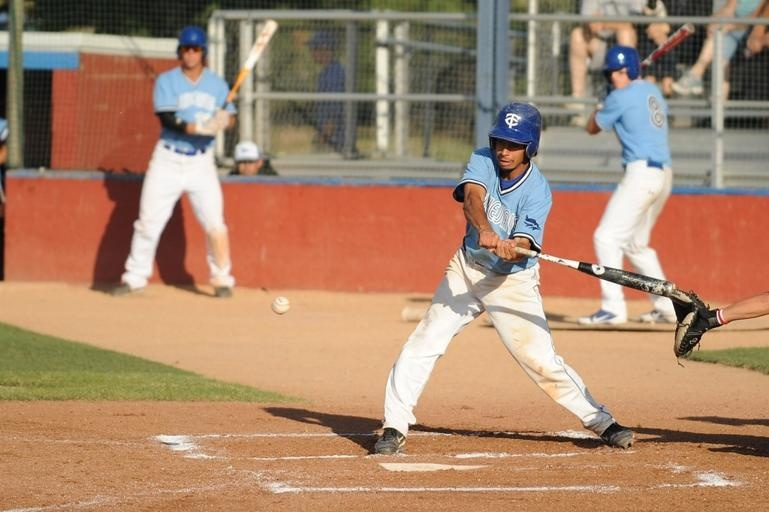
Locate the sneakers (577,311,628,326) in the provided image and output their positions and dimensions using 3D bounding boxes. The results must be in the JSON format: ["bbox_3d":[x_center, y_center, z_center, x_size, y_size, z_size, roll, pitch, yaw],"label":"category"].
[{"bbox_3d":[2.572,0.735,18.234,0.587,0.227,0.207,1,5,7],"label":"sneakers"}]

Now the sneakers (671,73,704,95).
[{"bbox_3d":[3.841,-2.176,19.584,0.373,0.259,0.209,4,26,5],"label":"sneakers"}]

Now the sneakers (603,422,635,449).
[{"bbox_3d":[2.160,1.689,14.661,0.372,0.178,0.161,-5,40,38],"label":"sneakers"}]

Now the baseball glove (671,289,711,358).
[{"bbox_3d":[2.894,0.639,14.732,0.338,0.603,0.299,8,12,39],"label":"baseball glove"}]

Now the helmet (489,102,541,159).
[{"bbox_3d":[1.280,-1.199,14.533,0.431,0.467,0.537,16,18,29],"label":"helmet"}]

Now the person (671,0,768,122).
[{"bbox_3d":[4.231,-2.625,19.533,1.055,1.263,0.319,2,7,-14],"label":"person"}]

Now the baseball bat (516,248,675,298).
[{"bbox_3d":[2.377,0.152,17.106,1.558,0.179,0.181,14,45,-3],"label":"baseball bat"}]

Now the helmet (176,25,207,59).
[{"bbox_3d":[-2.281,-2.577,18.443,0.317,0.330,0.350,2,6,-11],"label":"helmet"}]

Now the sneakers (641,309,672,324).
[{"bbox_3d":[3.261,0.710,18.477,0.407,0.166,0.146,3,7,6],"label":"sneakers"}]

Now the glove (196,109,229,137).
[{"bbox_3d":[-2.025,-1.582,18.352,0.459,0.305,0.259,2,7,-13],"label":"glove"}]

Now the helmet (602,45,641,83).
[{"bbox_3d":[2.786,-2.254,17.970,0.465,0.357,0.327,-8,14,-11],"label":"helmet"}]
